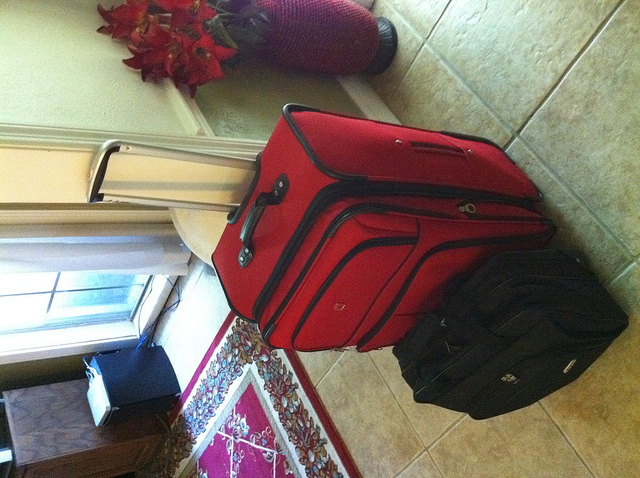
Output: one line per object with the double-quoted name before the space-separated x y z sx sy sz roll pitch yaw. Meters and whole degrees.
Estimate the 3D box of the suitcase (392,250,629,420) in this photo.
"suitcase" 0.580 0.276 1.532 0.446 0.324 0.234 -25 57 -24

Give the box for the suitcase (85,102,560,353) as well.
"suitcase" -0.001 -0.045 1.684 1.222 0.719 0.480 6 -3 -2

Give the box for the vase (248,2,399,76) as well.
"vase" 0.046 -0.783 2.123 0.612 0.282 0.277 2 6 -27
